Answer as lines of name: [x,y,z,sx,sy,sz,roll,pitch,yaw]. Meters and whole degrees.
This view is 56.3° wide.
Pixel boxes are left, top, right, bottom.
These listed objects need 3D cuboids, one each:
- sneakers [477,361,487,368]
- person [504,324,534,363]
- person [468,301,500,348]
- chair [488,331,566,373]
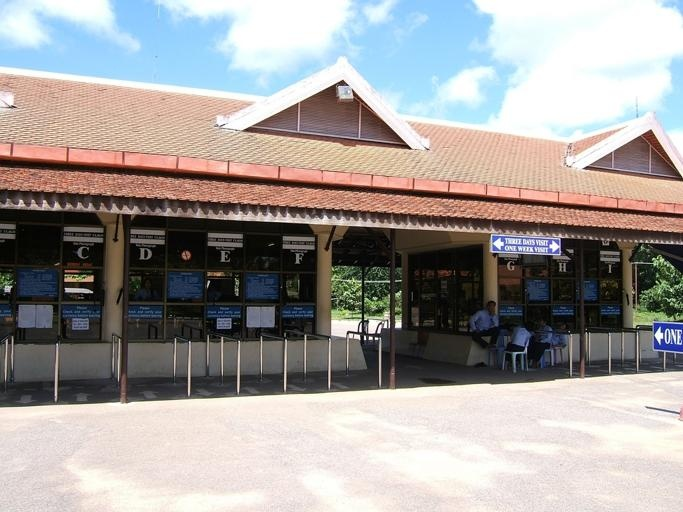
sneakers: [4.168,3.243,19.024,0.267,0.101,0.128,15,-18,-39]
person: [5.142,2.579,18.550,0.541,0.917,0.887,36,-8,-33]
person: [4.336,2.133,19.470,1.068,1.545,1.011,12,-19,-27]
chair: [5.377,2.657,18.745,1.316,0.938,1.946,-2,1,-28]
